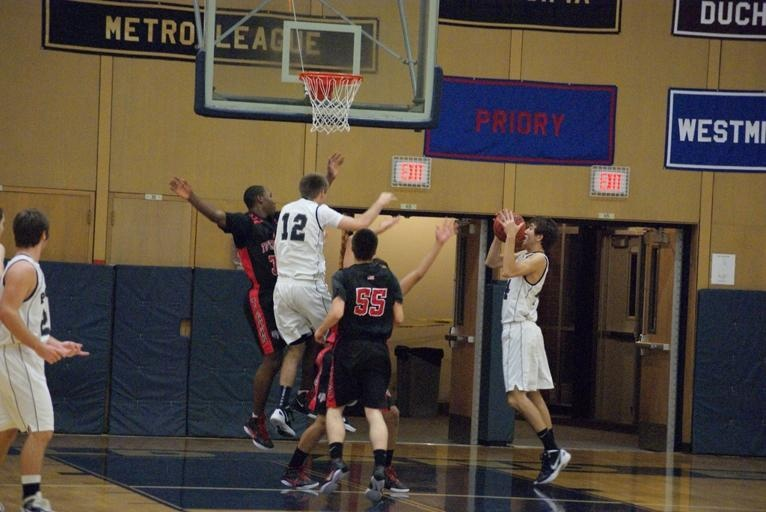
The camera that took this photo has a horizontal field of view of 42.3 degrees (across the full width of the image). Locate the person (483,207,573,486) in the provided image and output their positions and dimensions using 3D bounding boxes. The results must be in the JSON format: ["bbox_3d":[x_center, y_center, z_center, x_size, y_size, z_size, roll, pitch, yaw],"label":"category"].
[{"bbox_3d":[1.575,0.981,10.886,0.944,2.924,0.902,3,4,6],"label":"person"}]

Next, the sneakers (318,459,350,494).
[{"bbox_3d":[-0.482,2.130,9.576,0.162,0.365,0.263,25,33,-38],"label":"sneakers"}]

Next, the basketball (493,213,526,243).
[{"bbox_3d":[1.363,-0.289,10.826,0.305,0.320,0.169,31,49,26],"label":"basketball"}]

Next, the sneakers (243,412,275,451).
[{"bbox_3d":[-1.273,1.823,10.144,0.216,0.351,0.275,1,4,-27],"label":"sneakers"}]

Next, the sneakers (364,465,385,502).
[{"bbox_3d":[-0.071,2.209,9.547,0.174,0.353,0.228,3,4,0],"label":"sneakers"}]

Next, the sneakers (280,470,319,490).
[{"bbox_3d":[-0.860,2.289,10.083,0.346,0.194,0.184,2,-1,1],"label":"sneakers"}]

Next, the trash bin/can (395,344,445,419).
[{"bbox_3d":[0.559,1.692,14.966,0.875,1.245,0.912,1,33,5],"label":"trash bin/can"}]

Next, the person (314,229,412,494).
[{"bbox_3d":[-0.219,1.001,9.629,0.787,2.503,0.479,3,3,-3],"label":"person"}]
